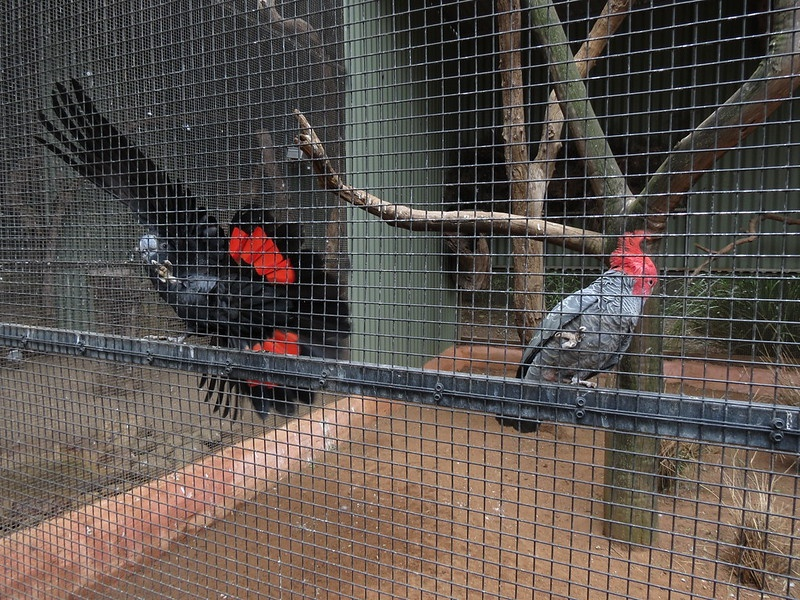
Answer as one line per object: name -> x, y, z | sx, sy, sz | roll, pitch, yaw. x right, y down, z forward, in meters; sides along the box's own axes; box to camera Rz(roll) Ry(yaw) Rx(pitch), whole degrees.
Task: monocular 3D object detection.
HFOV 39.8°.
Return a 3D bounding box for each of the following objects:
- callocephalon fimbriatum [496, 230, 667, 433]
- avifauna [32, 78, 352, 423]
callocephalon fimbriatum -> 0.887, 0.105, 5.404 | 0.749, 0.914, 0.422 | -4, -23, 36
avifauna -> -0.953, -0.323, 5.241 | 1.594, 0.952, 1.063 | -19, 16, -11
